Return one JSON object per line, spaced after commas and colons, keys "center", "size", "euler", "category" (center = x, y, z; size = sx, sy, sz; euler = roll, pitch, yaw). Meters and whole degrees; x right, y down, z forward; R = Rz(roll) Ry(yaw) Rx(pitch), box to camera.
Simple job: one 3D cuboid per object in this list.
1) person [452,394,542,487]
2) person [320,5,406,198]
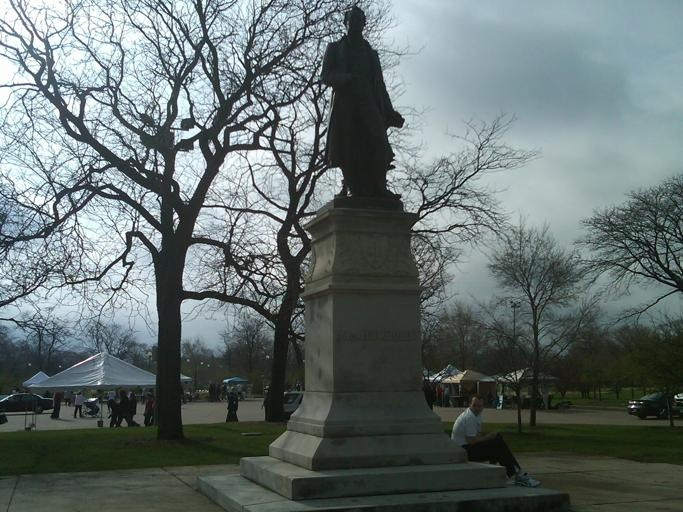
{"center": [2.963, 3.614, 14.478], "size": [0.787, 1.723, 1.408], "euler": [9, -18, -37], "category": "person"}
{"center": [0.343, -2.994, 14.464], "size": [1.404, 3.974, 0.805], "euler": [-1, -14, -1], "category": "person"}
